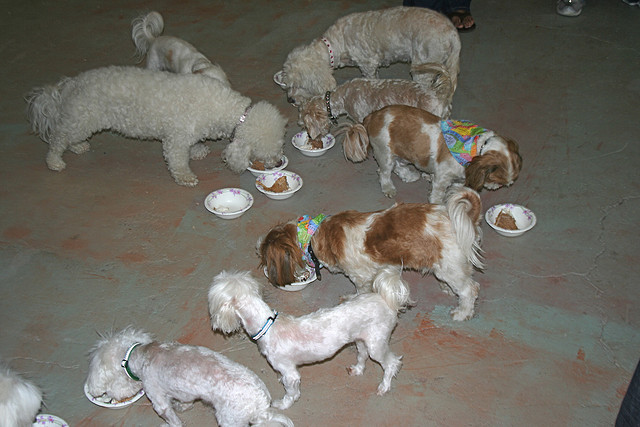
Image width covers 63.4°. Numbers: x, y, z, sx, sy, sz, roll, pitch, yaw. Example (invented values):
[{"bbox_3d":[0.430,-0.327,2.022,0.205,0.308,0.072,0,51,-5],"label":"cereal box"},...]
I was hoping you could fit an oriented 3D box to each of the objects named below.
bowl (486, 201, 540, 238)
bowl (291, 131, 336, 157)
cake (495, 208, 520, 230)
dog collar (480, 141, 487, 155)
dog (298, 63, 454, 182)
[{"bbox_3d":[2.388,0.122,6.477,0.594,0.234,0.608,-5,39,4],"label":"bowl"},{"bbox_3d":[-0.097,-0.985,7.584,0.432,0.133,0.425,0,48,0],"label":"bowl"},{"bbox_3d":[2.335,0.092,6.472,0.210,0.070,0.262,-25,44,-22],"label":"cake"},{"bbox_3d":[1.916,-0.753,6.042,0.052,0.037,0.173,22,97,-15],"label":"dog collar"},{"bbox_3d":[0.756,-1.166,7.027,2.027,1.348,0.660,18,46,10],"label":"dog"}]
